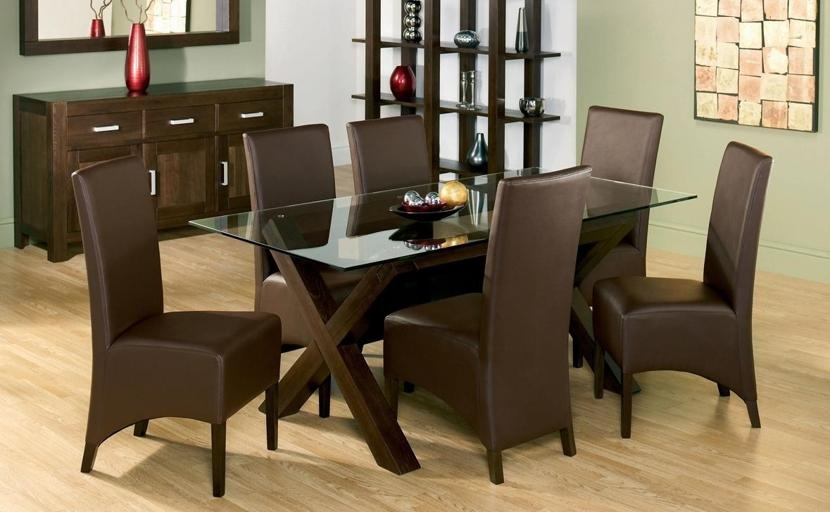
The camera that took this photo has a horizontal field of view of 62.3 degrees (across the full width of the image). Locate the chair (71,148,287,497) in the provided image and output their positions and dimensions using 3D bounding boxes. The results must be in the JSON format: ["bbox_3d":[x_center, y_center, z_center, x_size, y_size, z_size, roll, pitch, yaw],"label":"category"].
[{"bbox_3d":[-1.061,0.285,3.005,0.795,1.371,0.478,3,17,13],"label":"chair"}]

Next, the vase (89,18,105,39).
[{"bbox_3d":[-2.672,-1.914,5.778,0.140,0.156,0.145,-1,3,-28],"label":"vase"}]

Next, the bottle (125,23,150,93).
[{"bbox_3d":[-2.290,-1.617,5.625,0.197,0.568,0.414,-7,18,-21],"label":"bottle"}]

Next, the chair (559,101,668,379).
[{"bbox_3d":[0.998,-0.093,4.250,0.918,1.457,0.778,-10,21,-5],"label":"chair"}]

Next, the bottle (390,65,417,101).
[{"bbox_3d":[-0.118,-1.638,6.533,0.304,0.362,0.305,-2,10,-15],"label":"bottle"}]

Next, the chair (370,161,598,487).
[{"bbox_3d":[0.337,0.234,3.229,0.633,1.307,0.782,-9,15,-38],"label":"chair"}]

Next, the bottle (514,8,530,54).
[{"bbox_3d":[0.924,-1.952,5.915,0.109,0.380,0.249,2,17,11],"label":"bottle"}]

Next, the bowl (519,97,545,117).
[{"bbox_3d":[1.000,-1.265,5.890,0.162,0.124,0.181,1,5,16],"label":"bowl"}]

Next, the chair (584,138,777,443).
[{"bbox_3d":[1.366,0.125,3.586,0.808,1.293,0.815,-6,14,-3],"label":"chair"}]
